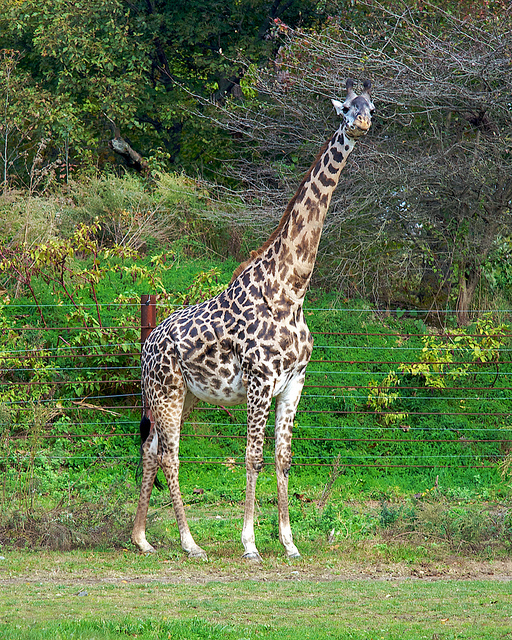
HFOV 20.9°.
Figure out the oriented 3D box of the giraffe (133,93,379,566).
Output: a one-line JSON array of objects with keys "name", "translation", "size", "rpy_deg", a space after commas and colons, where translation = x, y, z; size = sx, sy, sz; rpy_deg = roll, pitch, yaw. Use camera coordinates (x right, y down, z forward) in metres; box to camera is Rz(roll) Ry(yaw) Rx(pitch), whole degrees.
[{"name": "giraffe", "translation": [-0.161, 0.088, 14.687], "size": [2.189, 4.582, 2.901], "rpy_deg": [1, -1, -6]}]
